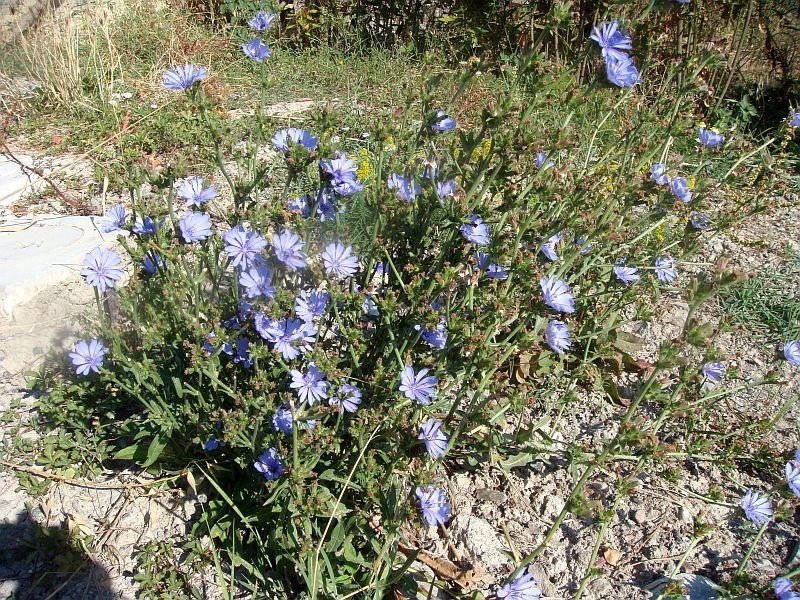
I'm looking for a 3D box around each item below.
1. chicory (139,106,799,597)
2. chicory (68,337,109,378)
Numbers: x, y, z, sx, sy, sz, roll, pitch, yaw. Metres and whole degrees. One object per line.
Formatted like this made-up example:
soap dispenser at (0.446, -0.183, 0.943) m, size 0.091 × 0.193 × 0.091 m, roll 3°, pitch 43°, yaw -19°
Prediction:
chicory at (0.018, 0.182, 3.997) m, size 2.662 × 2.689 × 1.579 m, roll -4°, pitch 6°, yaw -8°
chicory at (-1.494, 0.307, 3.270) m, size 0.177 × 0.086 × 0.208 m, roll 16°, pitch 76°, yaw -6°
